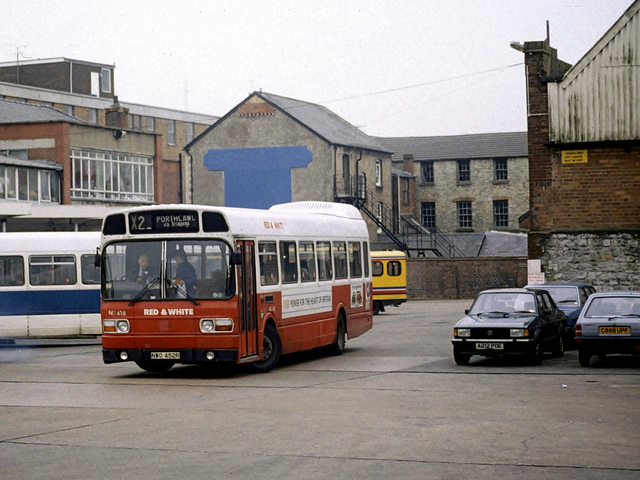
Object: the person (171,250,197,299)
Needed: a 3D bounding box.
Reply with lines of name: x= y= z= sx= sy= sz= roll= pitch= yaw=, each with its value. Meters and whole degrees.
person: x=-2.885 y=0.749 z=21.678 sx=0.509 sy=1.068 sz=0.132 roll=-5 pitch=-4 yaw=8
